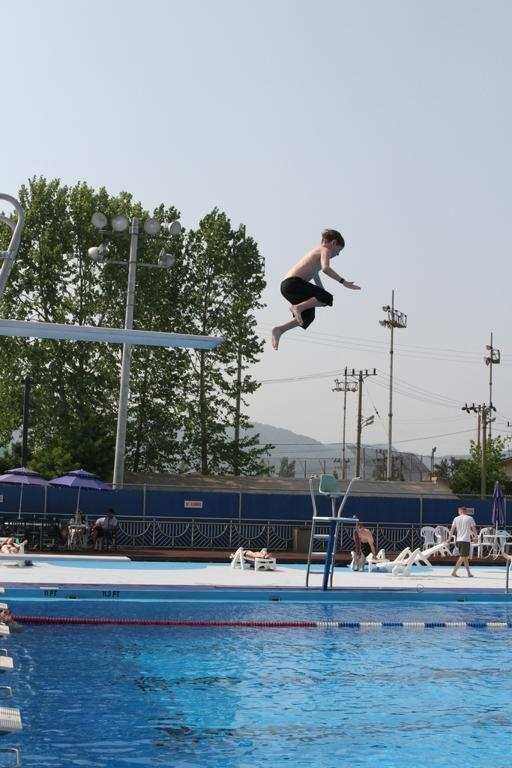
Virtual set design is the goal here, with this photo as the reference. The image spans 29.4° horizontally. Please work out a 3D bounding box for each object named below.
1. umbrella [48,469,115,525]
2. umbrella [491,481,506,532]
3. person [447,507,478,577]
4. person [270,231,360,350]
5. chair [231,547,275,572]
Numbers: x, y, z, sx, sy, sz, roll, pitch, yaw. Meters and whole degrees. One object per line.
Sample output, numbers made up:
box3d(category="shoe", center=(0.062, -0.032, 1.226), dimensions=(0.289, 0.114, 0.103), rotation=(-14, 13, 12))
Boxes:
box3d(category="umbrella", center=(-4.218, 2.630, 21.811), dimensions=(1.477, 1.118, 1.447), rotation=(4, -4, 24))
box3d(category="umbrella", center=(6.161, 3.029, 24.620), dimensions=(0.279, 1.027, 0.655), rotation=(2, -7, 11))
box3d(category="person", center=(3.531, 2.684, 16.708), dimensions=(0.464, 1.198, 0.557), rotation=(-12, -21, 39))
box3d(category="person", center=(0.540, -0.870, 8.629), dimensions=(0.491, 1.006, 0.839), rotation=(7, -7, -23))
box3d(category="chair", center=(0.010, 3.154, 17.483), dimensions=(0.466, 0.249, 0.722), rotation=(3, -15, -12))
